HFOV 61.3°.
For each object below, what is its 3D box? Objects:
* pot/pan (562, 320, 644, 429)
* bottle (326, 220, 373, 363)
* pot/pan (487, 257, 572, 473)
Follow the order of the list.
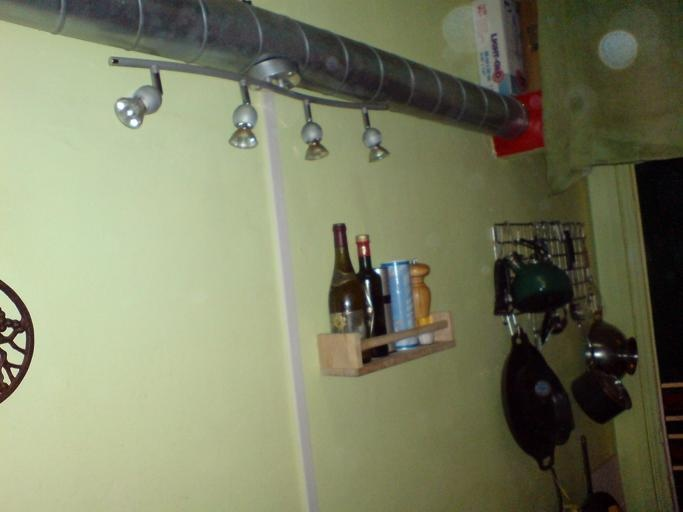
[{"bbox_3d":[1.203,0.517,2.617,0.250,0.323,0.216,-1,-5,-32],"label":"pot/pan"},{"bbox_3d":[0.010,0.074,1.645,0.102,0.323,0.177,-1,-5,-38],"label":"bottle"},{"bbox_3d":[0.771,0.419,2.273,0.294,0.837,0.281,-4,-4,15],"label":"pot/pan"}]
